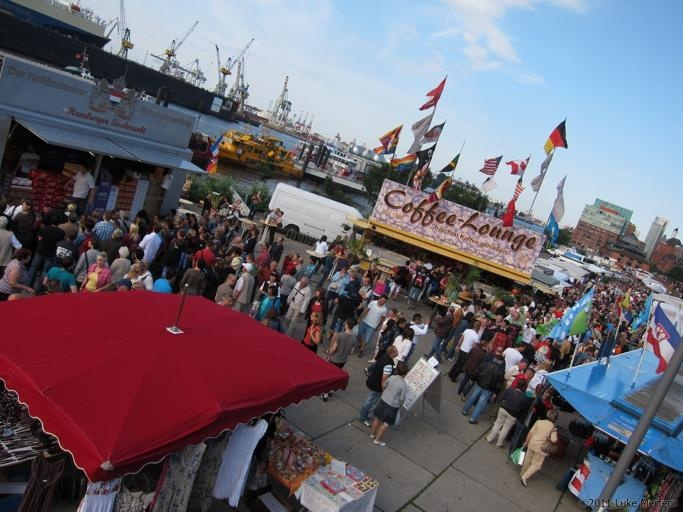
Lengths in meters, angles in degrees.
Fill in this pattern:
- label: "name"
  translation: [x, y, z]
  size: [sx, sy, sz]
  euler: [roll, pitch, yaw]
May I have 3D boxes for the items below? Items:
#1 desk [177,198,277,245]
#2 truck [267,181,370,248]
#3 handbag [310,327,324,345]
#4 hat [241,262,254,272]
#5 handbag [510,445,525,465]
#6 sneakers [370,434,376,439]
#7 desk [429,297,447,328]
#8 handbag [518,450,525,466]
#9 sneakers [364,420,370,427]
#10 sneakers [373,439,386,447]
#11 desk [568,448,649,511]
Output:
- label: "desk"
  translation: [-4.429, -1.330, 19.803]
  size: [2.270, 0.673, 1.623]
  euler: [28, -6, 7]
- label: "truck"
  translation: [-1.457, -2.124, 27.869]
  size: [5.114, 2.625, 2.164]
  euler: [17, 14, -13]
- label: "handbag"
  translation: [-0.533, 1.678, 11.079]
  size: [0.354, 0.511, 0.260]
  euler: [1, -2, -3]
- label: "hat"
  translation: [-2.282, 0.259, 12.340]
  size: [0.215, 0.249, 0.164]
  euler: [2, 16, 33]
- label: "handbag"
  translation: [3.819, 4.305, 11.026]
  size: [0.149, 0.417, 0.264]
  euler: [23, -8, -32]
- label: "sneakers"
  translation: [0.641, 3.699, 10.548]
  size: [0.043, 0.057, 0.123]
  euler: [7, 8, 35]
- label: "desk"
  translation: [3.452, 2.005, 18.273]
  size: [0.735, 0.957, 0.807]
  euler: [4, 15, -2]
- label: "handbag"
  translation: [3.853, 4.284, 10.919]
  size: [0.105, 0.291, 0.220]
  euler: [15, 11, 3]
- label: "sneakers"
  translation: [0.550, 3.532, 10.879]
  size: [0.174, 0.068, 0.113]
  euler: [9, 14, -39]
- label: "sneakers"
  translation: [0.787, 3.776, 10.466]
  size: [0.306, 0.079, 0.152]
  euler: [12, 13, -31]
- label: "desk"
  translation: [5.141, 4.564, 10.056]
  size: [0.446, 1.171, 1.365]
  euler: [8, 14, -34]
